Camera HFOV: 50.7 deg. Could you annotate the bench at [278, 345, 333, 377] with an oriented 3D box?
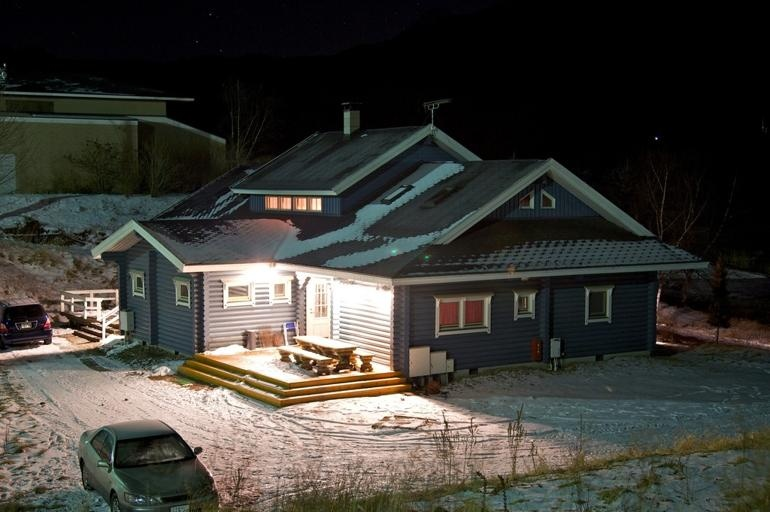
[{"bbox_3d":[-3.037,4.161,32.731,0.834,0.666,2.913,-8,11,-39],"label":"bench"}]
